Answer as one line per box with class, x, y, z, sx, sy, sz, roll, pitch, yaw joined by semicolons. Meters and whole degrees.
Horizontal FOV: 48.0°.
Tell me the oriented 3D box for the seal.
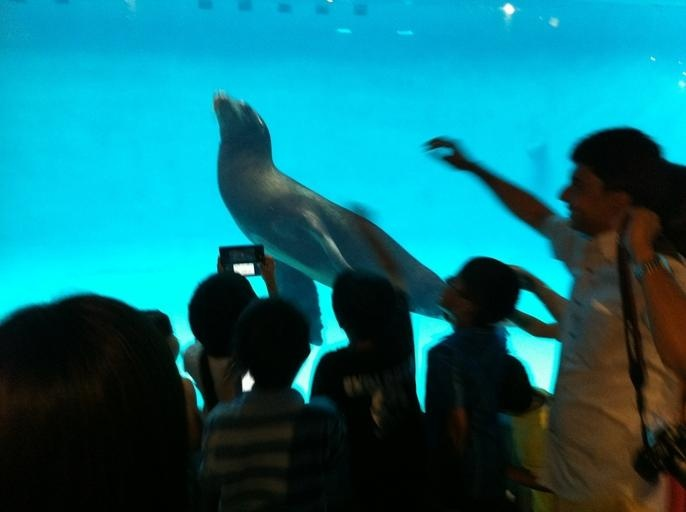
seal;0.076;-0.129;5.652;2.369;1.554;1.089;17;-22;-24
